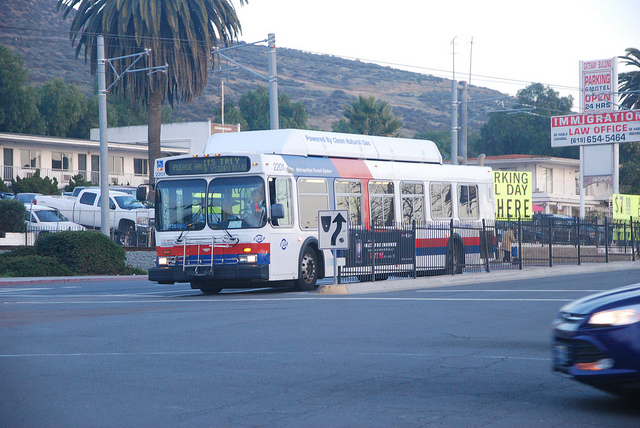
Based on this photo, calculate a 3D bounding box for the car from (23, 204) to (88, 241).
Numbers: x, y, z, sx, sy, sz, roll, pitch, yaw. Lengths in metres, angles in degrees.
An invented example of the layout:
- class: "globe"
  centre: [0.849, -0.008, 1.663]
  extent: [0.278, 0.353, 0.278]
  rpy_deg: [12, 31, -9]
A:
- class: "car"
  centre: [-13.733, 0.488, 61.648]
  extent: [4.029, 1.640, 1.888]
  rpy_deg: [-2, 1, 35]

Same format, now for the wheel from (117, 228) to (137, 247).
- class: "wheel"
  centre: [-10.174, 1.292, 63.304]
  extent: [0.851, 0.863, 0.869]
  rpy_deg: [2, -5, 0]

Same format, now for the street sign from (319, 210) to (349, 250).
- class: "street sign"
  centre: [0.497, 0.625, 45.674]
  extent: [1.472, 1.697, 0.132]
  rpy_deg: [0, 3, 4]

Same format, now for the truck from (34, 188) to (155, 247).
- class: "truck"
  centre: [-11.217, 0.083, 65.647]
  extent: [9.305, 3.131, 3.475]
  rpy_deg: [6, 6, 34]

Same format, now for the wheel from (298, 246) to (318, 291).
- class: "wheel"
  centre: [-0.499, 2.132, 46.806]
  extent: [0.296, 1.742, 1.089]
  rpy_deg: [3, 11, 29]
